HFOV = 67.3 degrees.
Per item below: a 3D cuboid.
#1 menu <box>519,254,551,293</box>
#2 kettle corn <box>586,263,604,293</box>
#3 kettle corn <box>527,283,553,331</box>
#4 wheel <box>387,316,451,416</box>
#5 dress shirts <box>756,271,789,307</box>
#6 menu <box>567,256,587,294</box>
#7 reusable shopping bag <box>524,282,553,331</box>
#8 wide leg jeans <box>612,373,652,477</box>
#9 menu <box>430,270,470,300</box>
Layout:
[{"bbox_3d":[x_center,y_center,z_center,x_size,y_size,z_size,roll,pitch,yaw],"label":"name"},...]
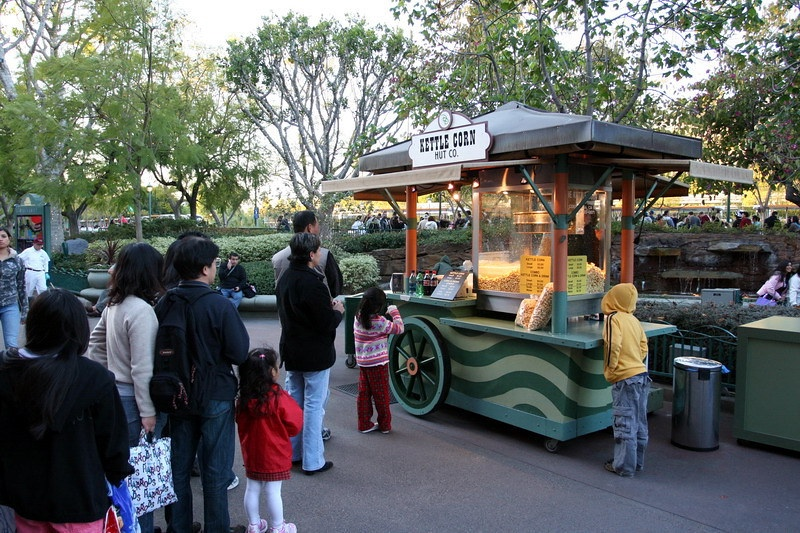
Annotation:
[{"bbox_3d":[1.729,0.086,7.600,0.352,0.423,0.045,26,12,38],"label":"menu"},{"bbox_3d":[2.526,0.172,7.759,0.130,0.348,0.345,-1,-32,30],"label":"kettle corn"},{"bbox_3d":[1.725,0.481,7.345,0.288,0.534,0.316,3,12,13],"label":"kettle corn"},{"bbox_3d":[0.291,1.334,8.085,0.192,1.443,1.208,0,5,-42],"label":"wheel"},{"bbox_3d":[7.888,0.459,12.709,0.390,0.620,0.520,26,-6,21],"label":"dress shirts"},{"bbox_3d":[2.202,0.093,7.507,0.465,0.480,0.049,0,6,-35],"label":"menu"},{"bbox_3d":[1.657,0.468,7.361,0.125,0.542,0.343,21,5,30],"label":"reusable shopping bag"},{"bbox_3d":[2.584,1.740,6.704,0.419,1.101,0.391,2,12,9],"label":"wide leg jeans"},{"bbox_3d":[0.679,0.242,8.104,0.384,0.295,0.448,-26,14,-25],"label":"menu"}]
